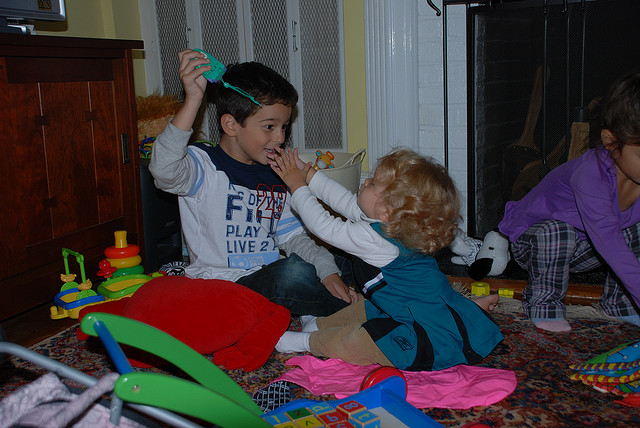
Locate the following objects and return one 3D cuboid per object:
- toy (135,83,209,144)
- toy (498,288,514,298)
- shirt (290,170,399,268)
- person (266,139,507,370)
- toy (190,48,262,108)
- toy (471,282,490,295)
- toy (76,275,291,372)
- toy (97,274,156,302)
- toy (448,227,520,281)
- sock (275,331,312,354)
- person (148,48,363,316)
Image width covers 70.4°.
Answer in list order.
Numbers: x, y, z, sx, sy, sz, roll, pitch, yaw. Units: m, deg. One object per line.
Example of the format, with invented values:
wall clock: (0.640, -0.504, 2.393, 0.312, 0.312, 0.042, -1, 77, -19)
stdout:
toy: (-0.869, -0.519, 2.531, 0.263, 0.229, 0.127, -27, 58, -25)
toy: (0.780, 0.332, 1.905, 0.041, 0.040, 0.041, 3, 8, 6)
shirt: (0.049, 0.053, 1.616, 0.421, 0.127, 0.229, 36, 38, 13)
person: (0.237, 0.146, 1.591, 0.736, 0.751, 0.431, -2, 13, 1)
toy: (-0.365, -0.489, 1.638, 0.221, 0.194, 0.206, -17, 24, -39)
toy: (0.677, 0.315, 1.924, 0.051, 0.031, 0.052, 4, 7, 28)
toy: (-0.423, 0.375, 1.550, 0.497, 0.150, 0.539, -11, 18, -11)
toy: (-0.744, 0.276, 1.750, 0.189, 0.074, 0.141, -7, 9, -40)
toy: (0.781, 0.191, 2.235, 0.284, 0.170, 0.381, 2, 6, -9)
sock: (-0.090, 0.447, 1.575, 0.111, 0.045, 0.066, -2, 12, 18)
person: (-0.216, -0.072, 1.753, 0.731, 0.961, 0.647, 0, 8, 0)
